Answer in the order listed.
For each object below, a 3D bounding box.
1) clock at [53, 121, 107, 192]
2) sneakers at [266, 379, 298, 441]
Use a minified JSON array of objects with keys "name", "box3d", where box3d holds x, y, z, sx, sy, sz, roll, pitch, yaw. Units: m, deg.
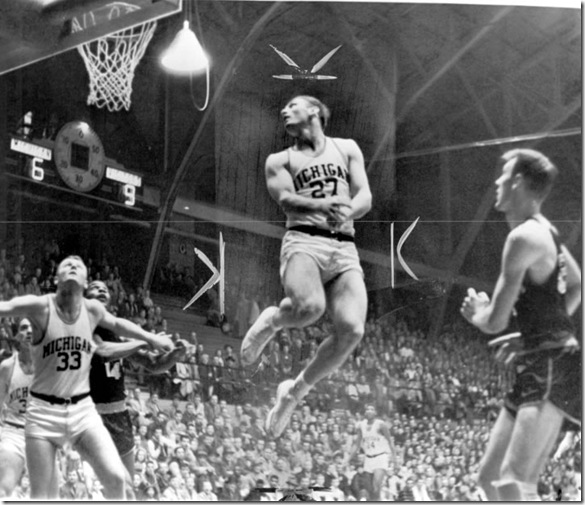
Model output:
[{"name":"clock","box3d":[-1.562,-0.705,5.768,0.493,0.730,0.081,0,-8,-4]},{"name":"sneakers","box3d":[-0.087,1.113,5.471,0.155,0.479,0.186,18,4,-4]}]
